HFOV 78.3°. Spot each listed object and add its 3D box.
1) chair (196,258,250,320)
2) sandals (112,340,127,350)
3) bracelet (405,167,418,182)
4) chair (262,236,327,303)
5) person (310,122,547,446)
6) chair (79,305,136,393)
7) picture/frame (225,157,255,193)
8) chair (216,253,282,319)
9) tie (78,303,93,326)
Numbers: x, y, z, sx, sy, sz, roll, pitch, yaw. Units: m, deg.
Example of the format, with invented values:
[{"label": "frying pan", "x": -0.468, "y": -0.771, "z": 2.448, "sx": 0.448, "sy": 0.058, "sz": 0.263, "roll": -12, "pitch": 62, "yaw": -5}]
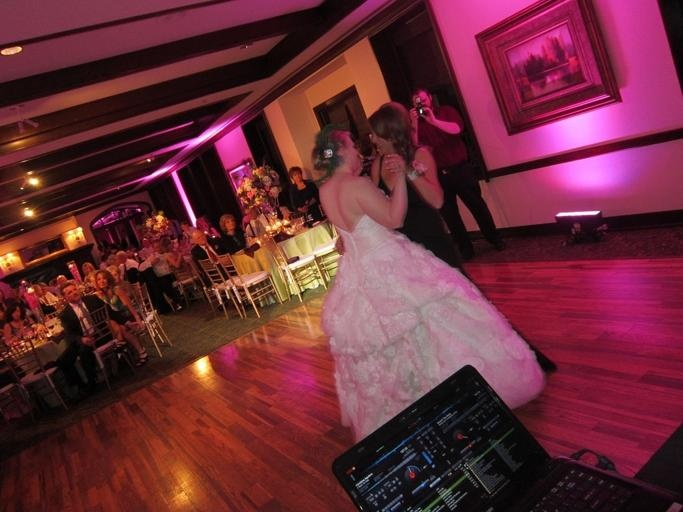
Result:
[{"label": "chair", "x": -1.990, "y": 0.510, "z": 7.462, "sx": 0.698, "sy": 1.254, "sz": 0.865, "roll": -16, "pitch": -7, "yaw": -19}, {"label": "sandals", "x": -3.244, "y": 1.306, "z": 6.176, "sx": 0.085, "sy": 0.110, "sz": 0.244, "roll": -3, "pitch": 6, "yaw": -6}, {"label": "bracelet", "x": 0.369, "y": -0.435, "z": 2.220, "sx": 0.043, "sy": 0.038, "sz": 0.062, "roll": -1, "pitch": -7, "yaw": -8}, {"label": "chair", "x": -0.734, "y": 0.113, "z": 6.936, "sx": 0.586, "sy": 0.945, "sz": 0.554, "roll": -19, "pitch": 16, "yaw": -2}, {"label": "person", "x": 0.305, "y": 0.134, "z": 2.747, "sx": 1.008, "sy": 1.865, "sz": 1.320, "roll": -24, "pitch": 11, "yaw": -33}, {"label": "chair", "x": -3.469, "y": 1.256, "z": 6.205, "sx": 0.536, "sy": 0.778, "sz": 0.524, "roll": 10, "pitch": 34, "yaw": 34}, {"label": "picture/frame", "x": -2.372, "y": -1.956, "z": 9.872, "sx": 0.152, "sy": 0.863, "sz": 1.382, "roll": -23, "pitch": 12, "yaw": -32}, {"label": "chair", "x": -1.494, "y": 0.374, "z": 7.017, "sx": 0.645, "sy": 1.006, "sz": 0.609, "roll": -23, "pitch": 13, "yaw": -10}, {"label": "tie", "x": -3.705, "y": 0.877, "z": 6.132, "sx": 0.097, "sy": 0.404, "sz": 0.117, "roll": -13, "pitch": -6, "yaw": 13}]
